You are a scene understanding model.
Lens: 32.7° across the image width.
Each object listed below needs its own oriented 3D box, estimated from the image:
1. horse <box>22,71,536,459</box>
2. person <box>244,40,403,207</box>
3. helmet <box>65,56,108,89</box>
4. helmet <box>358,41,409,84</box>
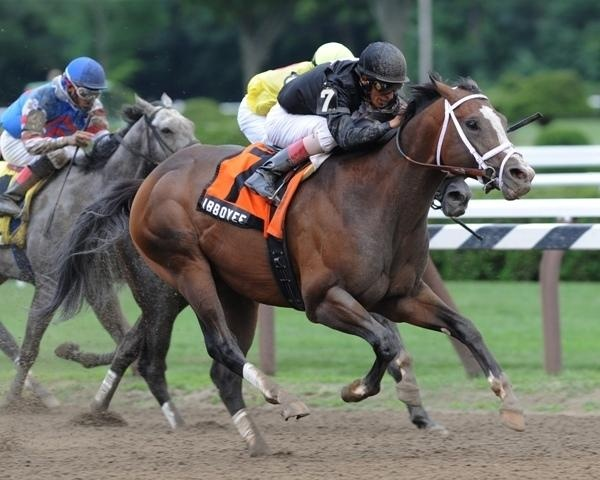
[{"bbox_3d":[-0.129,0.145,5.640,3.286,1.752,0.850,-3,-4,35],"label":"horse"},{"bbox_3d":[0.046,-0.638,5.410,1.171,0.397,0.684,-7,24,38],"label":"person"},{"bbox_3d":[-1.370,-1.082,6.515,0.253,0.164,0.311,-9,36,-31],"label":"helmet"},{"bbox_3d":[0.422,-0.935,5.219,0.265,0.168,0.325,-9,20,-25],"label":"helmet"}]
